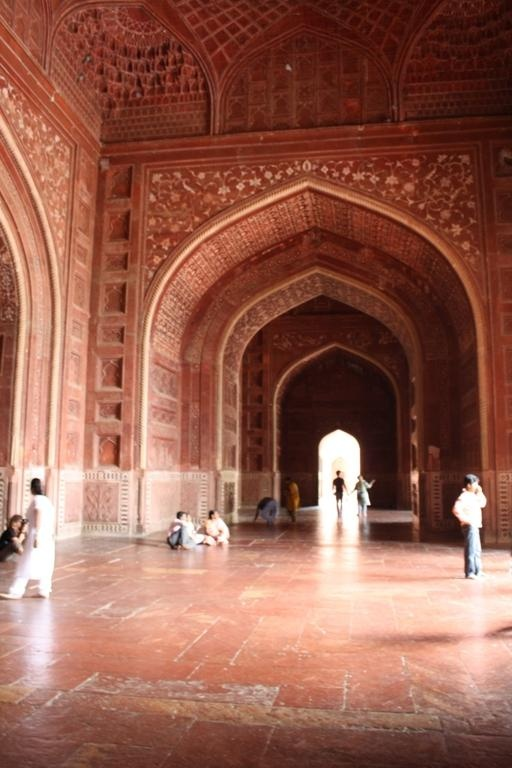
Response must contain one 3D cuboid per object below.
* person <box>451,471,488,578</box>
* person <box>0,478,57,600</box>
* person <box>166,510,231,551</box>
[{"bbox_3d":[1.881,1.234,5.258,0.246,0.861,0.538,-2,-9,20],"label":"person"},{"bbox_3d":[-1.614,1.088,4.281,0.327,0.813,0.298,4,-9,-14],"label":"person"},{"bbox_3d":[-0.730,1.800,7.549,0.791,0.405,0.521,-4,-12,4],"label":"person"}]
